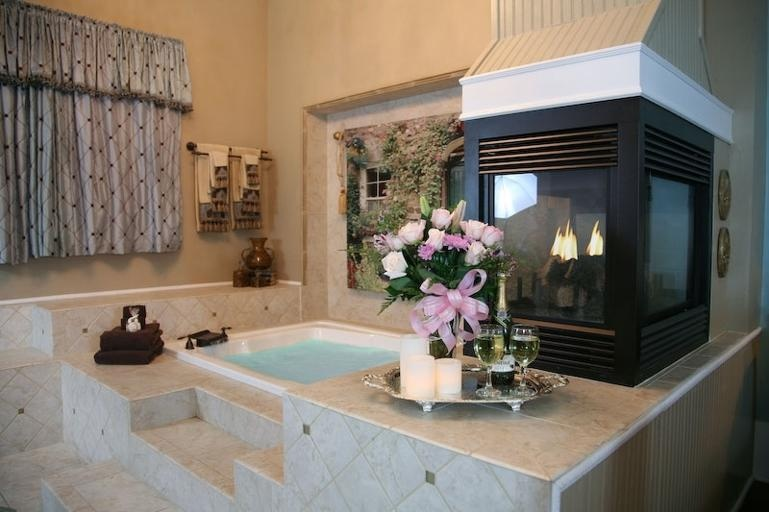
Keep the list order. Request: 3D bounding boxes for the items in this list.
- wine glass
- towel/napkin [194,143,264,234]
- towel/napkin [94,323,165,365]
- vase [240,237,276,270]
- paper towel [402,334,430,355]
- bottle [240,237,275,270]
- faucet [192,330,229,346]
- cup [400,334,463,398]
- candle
[{"bbox_3d":[0.575,0.487,2.562,0.309,0.321,0.142,1,-4,-4],"label":"wine glass"},{"bbox_3d":[-1.595,-0.720,5.634,0.907,0.879,0.158,-3,5,-43],"label":"towel/napkin"},{"bbox_3d":[-2.016,0.705,4.428,0.412,0.276,0.418,-1,13,-5],"label":"towel/napkin"},{"bbox_3d":[-1.306,-0.024,5.826,0.346,0.359,0.271,0,8,-14],"label":"vase"},{"bbox_3d":[0.151,0.417,2.642,0.096,0.073,0.098,3,-3,-17],"label":"paper towel"},{"bbox_3d":[-1.326,-0.011,5.877,0.407,0.406,0.313,-1,0,-20],"label":"bottle"},{"bbox_3d":[-1.481,0.705,4.769,0.289,0.108,0.162,-13,18,-43],"label":"faucet"},{"bbox_3d":[0.186,0.523,2.572,0.316,0.295,0.191,-1,0,-10],"label":"cup"},{"bbox_3d":[0.207,0.524,2.577,0.313,0.292,0.193,-1,0,-5],"label":"candle"}]
